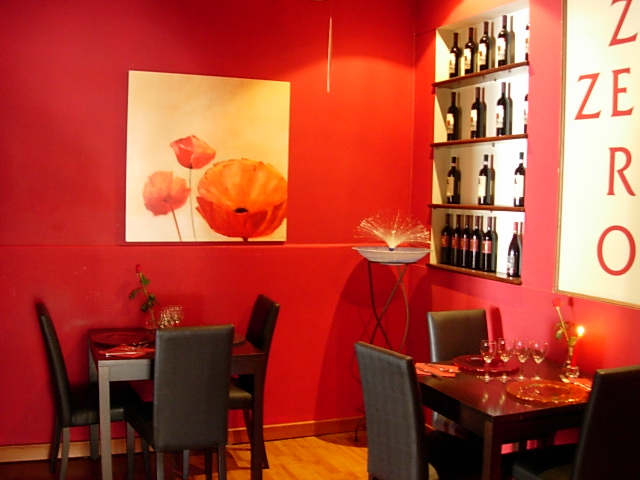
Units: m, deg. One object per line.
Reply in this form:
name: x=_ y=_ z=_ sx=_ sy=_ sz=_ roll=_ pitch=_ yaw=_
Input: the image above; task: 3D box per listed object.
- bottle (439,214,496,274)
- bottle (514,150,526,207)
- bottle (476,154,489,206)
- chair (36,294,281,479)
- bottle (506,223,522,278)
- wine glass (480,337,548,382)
bottle: x=1.163 y=0.034 z=4.361 sx=0.084 sy=0.335 sz=0.426 roll=-2 pitch=5 yaw=-33
bottle: x=1.399 y=-0.427 z=3.937 sx=0.075 sy=0.380 sz=0.269 roll=1 pitch=4 yaw=19
bottle: x=1.255 y=-0.463 z=4.308 sx=0.082 sy=0.370 sz=0.227 roll=1 pitch=4 yaw=15
chair: x=-1.146 y=1.020 z=4.013 sx=1.370 sy=1.217 sz=1.271 roll=-2 pitch=6 yaw=-23
bottle: x=1.365 y=0.068 z=3.945 sx=0.087 sy=0.388 sz=0.145 roll=1 pitch=4 yaw=19
wine glass: x=1.111 y=0.684 z=3.275 sx=0.278 sy=0.119 sz=0.290 roll=4 pitch=-5 yaw=-24
